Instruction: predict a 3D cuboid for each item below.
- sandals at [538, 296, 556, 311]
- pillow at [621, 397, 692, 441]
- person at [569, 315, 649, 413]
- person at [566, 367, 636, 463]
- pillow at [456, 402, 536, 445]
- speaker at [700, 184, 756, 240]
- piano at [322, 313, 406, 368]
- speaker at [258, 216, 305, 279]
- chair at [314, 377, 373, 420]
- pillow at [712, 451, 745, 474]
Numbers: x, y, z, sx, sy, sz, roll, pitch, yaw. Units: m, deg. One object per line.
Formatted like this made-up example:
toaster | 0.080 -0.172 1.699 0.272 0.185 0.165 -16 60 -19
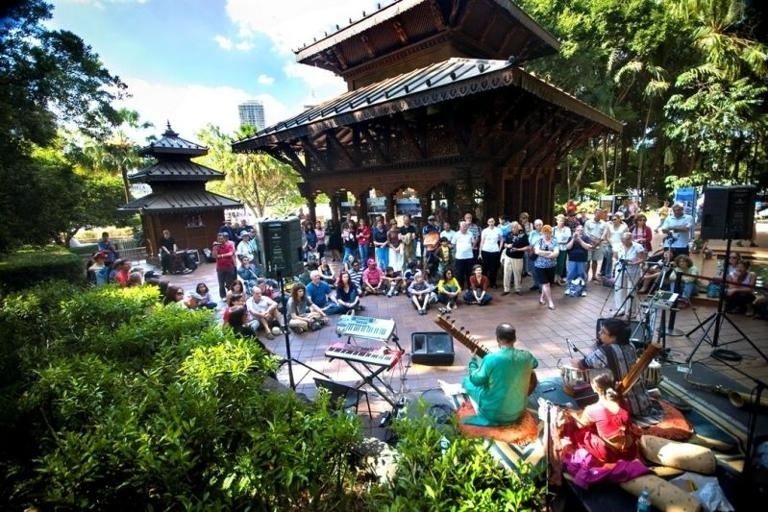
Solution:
sandals | 4.253 1.216 13.148 0.287 0.262 0.652 -3 4 -10
pillow | 4.696 2.773 8.327 0.695 0.242 0.631 -8 16 -20
person | 4.046 1.849 8.991 1.148 1.751 0.891 5 29 38
person | 3.449 2.605 8.189 0.943 1.345 0.580 -2 -18 -6
pillow | 1.962 2.861 8.600 1.212 0.460 0.430 4 6 -1
speaker | 6.990 -0.891 10.219 0.909 1.112 0.393 0 5 35
piano | -0.404 1.700 10.153 1.385 0.769 1.003 5 27 17
speaker | -2.137 -0.191 10.363 0.871 1.228 0.715 -4 8 -7
chair | -0.737 2.826 9.278 1.082 0.982 1.055 3 11 -17
pillow | 5.608 3.347 8.133 0.296 0.131 0.324 -12 17 8
